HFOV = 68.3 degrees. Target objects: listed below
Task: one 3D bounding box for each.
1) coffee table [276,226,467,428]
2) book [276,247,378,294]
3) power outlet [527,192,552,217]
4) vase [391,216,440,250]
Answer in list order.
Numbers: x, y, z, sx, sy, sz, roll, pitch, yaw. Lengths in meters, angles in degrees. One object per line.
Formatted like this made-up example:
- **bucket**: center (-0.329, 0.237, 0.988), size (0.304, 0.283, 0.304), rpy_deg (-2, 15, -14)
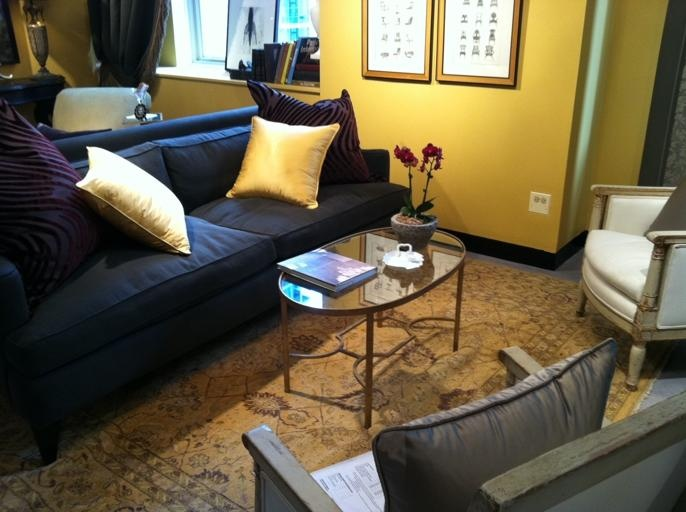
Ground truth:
- **coffee table**: center (0.161, 0.291, 2.393), size (0.654, 0.639, 1.015), rpy_deg (15, 26, 32)
- **book**: center (-0.054, 0.052, 2.132), size (0.357, 0.049, 0.265), rpy_deg (17, 28, 33)
- **power outlet**: center (1.233, -0.332, 3.166), size (0.120, 0.114, 0.017), rpy_deg (29, 30, 22)
- **vase**: center (0.341, -0.102, 2.385), size (0.198, 0.140, 0.200), rpy_deg (2, 18, 3)
